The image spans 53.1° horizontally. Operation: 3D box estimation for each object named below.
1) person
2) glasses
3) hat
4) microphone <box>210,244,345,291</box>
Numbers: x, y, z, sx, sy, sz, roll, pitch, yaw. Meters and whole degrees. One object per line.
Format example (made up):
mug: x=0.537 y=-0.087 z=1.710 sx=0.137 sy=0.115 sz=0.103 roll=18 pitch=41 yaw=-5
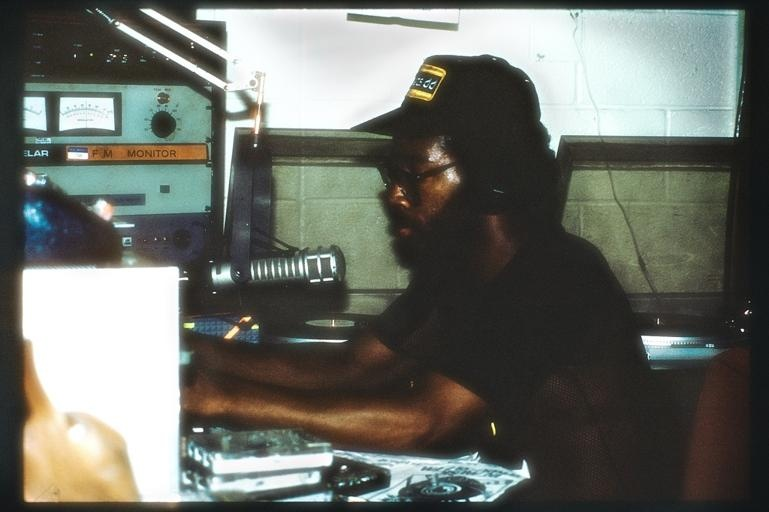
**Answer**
person: x=0.028 y=0.028 z=1.566 sx=0.839 sy=0.871 sz=0.757 roll=-5 pitch=11 yaw=-29
glasses: x=0.078 y=-0.186 z=1.687 sx=0.145 sy=0.039 sz=0.127 roll=-17 pitch=15 yaw=-24
hat: x=0.142 y=-0.345 z=1.658 sx=0.444 sy=0.167 sz=0.260 roll=-3 pitch=21 yaw=-22
microphone: x=-0.262 y=0.034 z=2.038 sx=0.407 sy=0.114 sz=0.128 roll=-4 pitch=1 yaw=11
